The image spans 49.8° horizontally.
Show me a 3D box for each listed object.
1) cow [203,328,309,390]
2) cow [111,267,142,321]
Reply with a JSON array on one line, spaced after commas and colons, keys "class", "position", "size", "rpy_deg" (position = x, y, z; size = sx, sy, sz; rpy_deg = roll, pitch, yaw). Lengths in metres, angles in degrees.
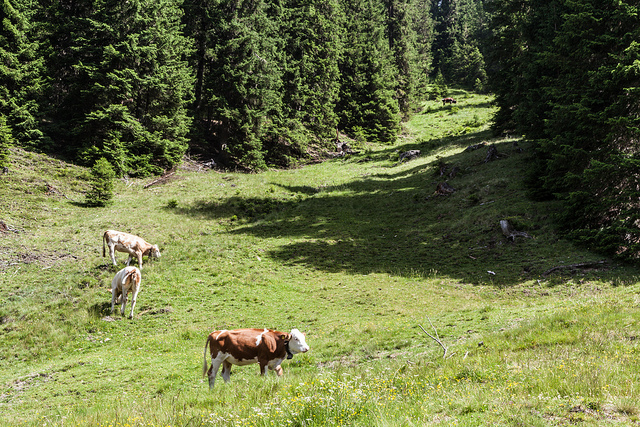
[{"class": "cow", "position": [-4.831, 10.678, 51.513], "size": [7.710, 4.326, 2.126], "rpy_deg": [-2, 2, 1]}, {"class": "cow", "position": [-16.352, 6.514, 57.643], "size": [2.410, 4.171, 1.072], "rpy_deg": [-4, 7, -8]}]
